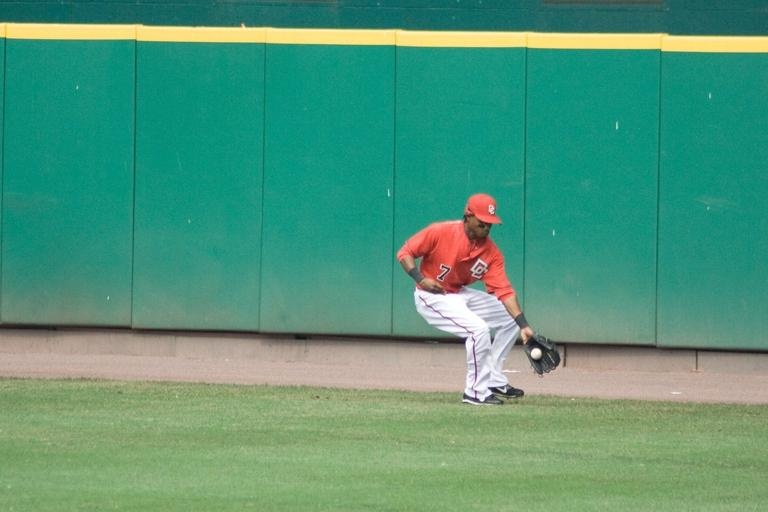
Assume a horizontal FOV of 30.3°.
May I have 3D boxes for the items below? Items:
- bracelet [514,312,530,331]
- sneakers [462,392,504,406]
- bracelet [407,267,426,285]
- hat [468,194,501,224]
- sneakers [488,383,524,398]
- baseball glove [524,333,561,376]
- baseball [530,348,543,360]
[{"bbox_3d":[1.485,0.704,15.201,0.130,0.187,0.241,4,-12,6],"label":"bracelet"},{"bbox_3d":[1.090,1.545,15.290,0.401,0.174,0.152,0,-3,11],"label":"sneakers"},{"bbox_3d":[0.381,0.190,15.235,0.166,0.174,0.158,50,-12,-10],"label":"bracelet"},{"bbox_3d":[1.101,-0.474,15.065,0.420,0.209,0.311,27,21,28],"label":"hat"},{"bbox_3d":[1.366,1.473,15.604,0.398,0.167,0.140,2,9,2],"label":"sneakers"},{"bbox_3d":[1.728,1.043,15.388,0.336,0.454,0.183,-31,15,9],"label":"baseball glove"},{"bbox_3d":[1.636,1.050,15.218,0.119,0.134,0.115,6,-8,-15],"label":"baseball"}]
